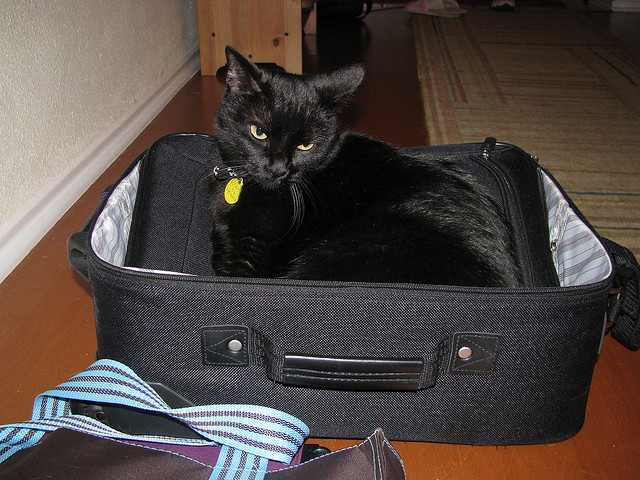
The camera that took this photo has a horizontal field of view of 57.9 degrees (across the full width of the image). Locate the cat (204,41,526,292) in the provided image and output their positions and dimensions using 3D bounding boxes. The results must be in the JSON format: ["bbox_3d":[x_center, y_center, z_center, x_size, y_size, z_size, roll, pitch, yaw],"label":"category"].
[{"bbox_3d":[0.030,-0.147,1.371,0.760,0.458,0.500,5,29,0],"label":"cat"}]

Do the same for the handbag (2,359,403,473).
[{"bbox_3d":[-0.231,0.274,1.096,0.575,0.192,0.324,9,0,-9],"label":"handbag"}]

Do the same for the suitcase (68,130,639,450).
[{"bbox_3d":[0.089,0.215,1.333,1.125,0.361,0.788,3,36,-2],"label":"suitcase"}]
